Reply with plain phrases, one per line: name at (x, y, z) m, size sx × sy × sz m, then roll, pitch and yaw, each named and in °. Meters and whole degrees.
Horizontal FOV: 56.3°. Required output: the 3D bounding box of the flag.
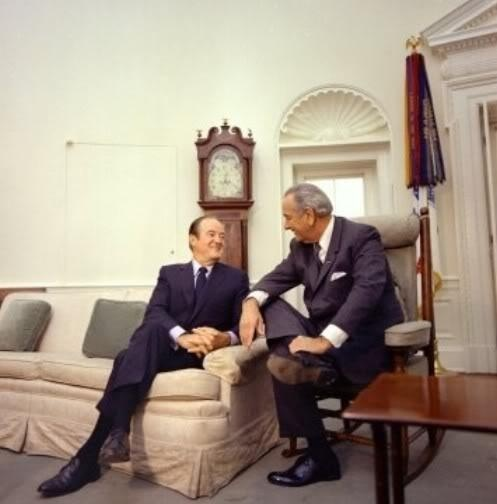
flag at (1.432, -1.077, 3.782) m, size 0.320 × 1.381 × 0.198 m, roll 2°, pitch 0°, yaw 23°

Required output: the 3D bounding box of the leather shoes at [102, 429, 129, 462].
leather shoes at (-0.471, 0.683, 1.653) m, size 0.065 × 0.136 × 0.127 m, roll 4°, pitch -26°, yaw -8°

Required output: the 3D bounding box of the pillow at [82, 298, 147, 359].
pillow at (-0.773, 0.439, 2.657) m, size 0.263 × 0.324 × 0.139 m, roll -3°, pitch -30°, yaw 22°

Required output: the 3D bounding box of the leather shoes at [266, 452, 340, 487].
leather shoes at (0.221, 0.826, 1.814) m, size 0.247 × 0.124 × 0.122 m, roll 1°, pitch -14°, yaw -4°

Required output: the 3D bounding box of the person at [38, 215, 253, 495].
person at (-0.379, 0.360, 2.008) m, size 0.445 × 1.086 × 0.951 m, roll 2°, pitch 0°, yaw 25°
